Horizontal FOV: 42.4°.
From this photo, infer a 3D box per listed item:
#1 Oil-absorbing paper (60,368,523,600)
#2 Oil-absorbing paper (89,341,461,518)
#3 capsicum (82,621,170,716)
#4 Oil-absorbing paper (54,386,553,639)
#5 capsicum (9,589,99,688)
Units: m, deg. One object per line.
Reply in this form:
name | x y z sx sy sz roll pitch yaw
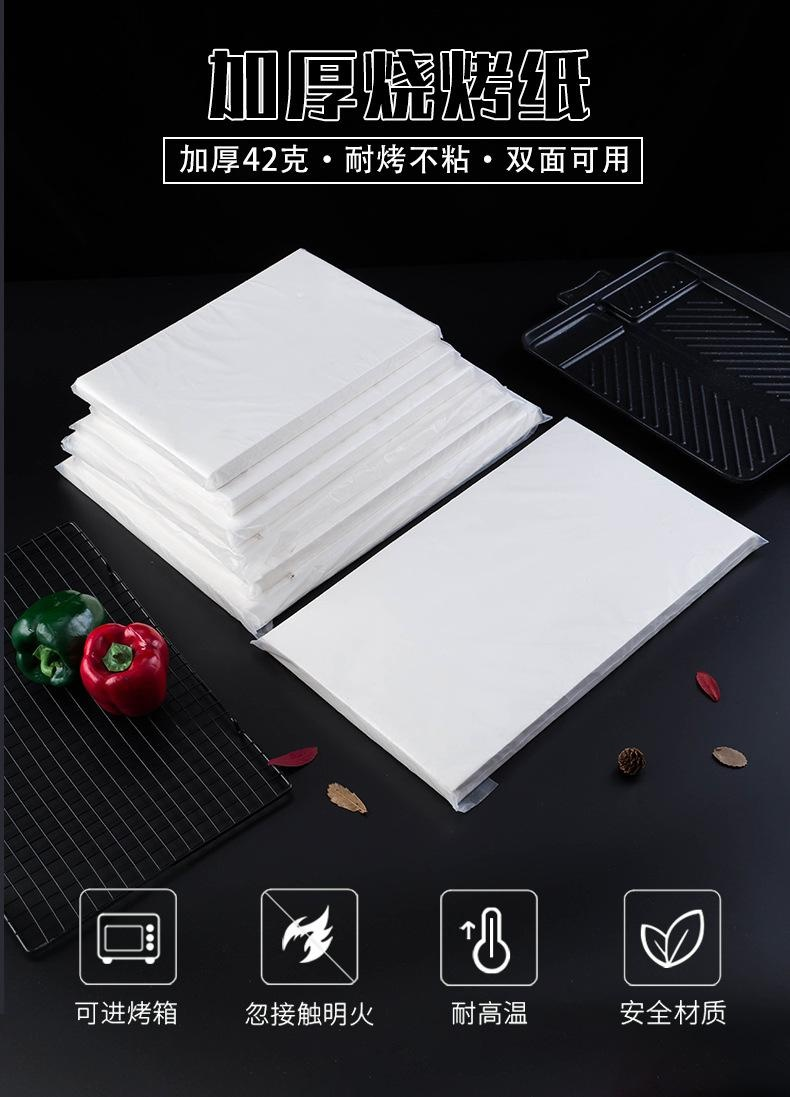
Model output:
Oil-absorbing paper | -0.086 -0.104 1.846 0.569 0.513 0.128 -37 -31 -26
Oil-absorbing paper | -0.211 -0.253 1.811 0.511 0.355 0.064 -31 -38 -25
capsicum | -0.383 0.166 1.513 0.138 0.127 0.122 3 -33 -8
Oil-absorbing paper | -0.223 -0.109 1.801 0.582 0.516 0.059 -38 -28 -30
capsicum | -0.500 0.139 1.498 0.127 0.106 0.101 -52 -37 -51
